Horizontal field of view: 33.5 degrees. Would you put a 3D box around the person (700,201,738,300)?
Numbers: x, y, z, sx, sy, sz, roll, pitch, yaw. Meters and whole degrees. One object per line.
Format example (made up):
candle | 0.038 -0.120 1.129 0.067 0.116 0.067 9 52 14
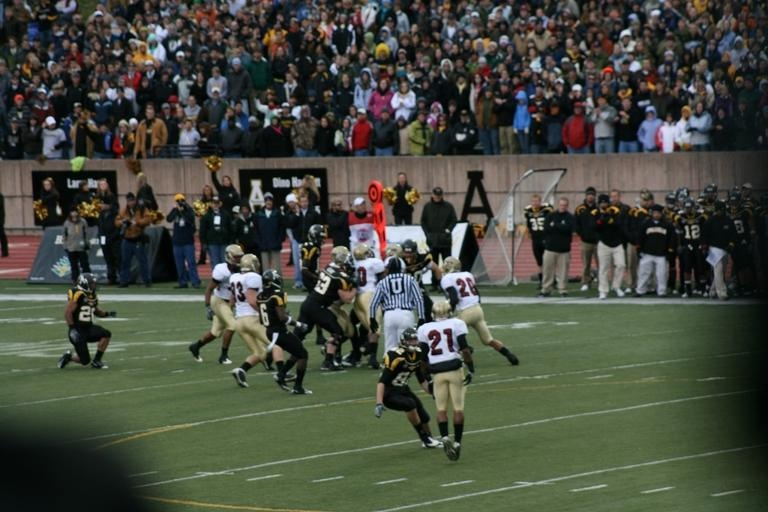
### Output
person | 8.292 -0.155 31.950 0.740 1.875 0.493 -2 1 13

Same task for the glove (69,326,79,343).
glove | -6.439 1.662 26.888 0.220 0.300 0.108 4 -4 -14

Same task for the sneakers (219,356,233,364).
sneakers | -3.382 2.247 27.497 0.147 0.108 0.253 -1 -3 -37

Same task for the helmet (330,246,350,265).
helmet | -0.893 -0.025 26.276 0.303 0.382 0.390 6 0 17

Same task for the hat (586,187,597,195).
hat | 5.323 -1.713 33.327 0.190 0.183 0.296 6 -10 10

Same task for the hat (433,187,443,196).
hat | 1.428 -1.831 34.818 0.220 0.272 0.269 4 -35 9

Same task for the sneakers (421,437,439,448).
sneakers | 0.826 3.302 22.517 0.403 0.198 0.146 0 24 -4

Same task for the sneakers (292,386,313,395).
sneakers | -1.588 2.647 25.243 0.415 0.173 0.151 -2 16 -4

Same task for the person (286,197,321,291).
person | -2.173 -0.403 35.665 1.015 2.782 0.810 0 -15 1

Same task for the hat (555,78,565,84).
hat | 4.911 -4.978 36.226 0.270 0.164 0.442 -2 1 8

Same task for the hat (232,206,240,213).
hat | -4.092 -1.320 35.851 0.176 0.173 0.209 9 -12 -26

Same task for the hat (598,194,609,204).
hat | 5.574 -1.482 32.776 0.264 0.187 0.308 -2 1 8

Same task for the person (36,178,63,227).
person | -10.731 -1.803 41.635 0.623 1.597 1.858 -2 1 -15

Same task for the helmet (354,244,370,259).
helmet | -0.478 -0.108 27.086 0.334 0.274 0.261 -19 30 -3

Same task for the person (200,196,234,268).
person | -4.533 -0.419 35.490 0.909 2.476 0.595 -5 17 -5

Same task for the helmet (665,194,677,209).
helmet | 7.492 -1.421 33.480 0.300 0.398 0.397 -2 -2 3

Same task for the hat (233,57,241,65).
hat | -4.521 -6.068 39.558 0.241 0.165 0.310 -4 -14 -2

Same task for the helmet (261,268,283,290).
helmet | -2.191 0.431 25.401 0.446 0.392 0.343 -20 24 -36

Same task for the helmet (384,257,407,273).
helmet | 0.227 0.172 25.300 0.248 0.245 0.392 4 30 0

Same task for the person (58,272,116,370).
person | -6.310 1.382 27.348 1.079 1.963 1.146 -2 1 -14

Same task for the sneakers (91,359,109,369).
sneakers | -6.016 2.317 27.305 0.450 0.191 0.152 6 19 -2

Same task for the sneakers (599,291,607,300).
sneakers | 5.544 0.994 32.708 0.195 0.230 0.539 0 -3 5

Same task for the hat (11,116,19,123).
hat | -12.008 -4.521 42.092 0.203 0.092 0.233 2 -2 -3

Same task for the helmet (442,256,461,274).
helmet | 1.400 0.160 26.161 0.268 0.305 0.341 0 9 -20

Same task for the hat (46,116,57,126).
hat | -10.859 -4.469 42.014 0.355 0.293 0.564 -6 10 -13

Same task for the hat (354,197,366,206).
hat | -0.691 -1.486 34.688 0.238 0.176 0.335 -11 0 -38

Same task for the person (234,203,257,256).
person | -3.827 -0.752 35.767 0.757 1.313 0.418 -2 1 -21

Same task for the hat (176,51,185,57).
hat | -6.486 -6.550 41.278 0.191 0.138 0.245 -2 -1 -10

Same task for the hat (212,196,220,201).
hat | -4.522 -1.583 34.982 0.153 0.153 0.115 2 5 -27

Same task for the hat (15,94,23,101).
hat | -11.865 -5.222 42.146 0.191 0.224 0.245 -5 -21 -35

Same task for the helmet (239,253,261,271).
helmet | -2.745 0.112 26.467 0.363 0.364 0.304 -22 20 -21

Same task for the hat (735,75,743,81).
hat | 9.328 -4.746 33.917 0.061 0.132 0.398 -2 1 -16

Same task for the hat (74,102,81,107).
hat | -9.747 -4.899 41.123 0.211 0.108 0.330 -2 4 -19

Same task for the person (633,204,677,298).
person | 6.863 -0.137 32.758 0.955 1.843 0.613 -2 1 15

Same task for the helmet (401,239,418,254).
helmet | 0.533 -0.226 26.546 0.234 0.272 0.286 -2 43 4

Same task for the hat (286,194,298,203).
hat | -2.643 -1.693 37.259 0.253 0.334 0.323 -3 12 -3

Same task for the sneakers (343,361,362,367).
sneakers | -0.669 2.302 27.142 0.373 0.161 0.127 -4 14 2

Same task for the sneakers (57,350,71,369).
sneakers | -6.813 2.244 27.539 0.112 0.333 0.157 38 23 -1

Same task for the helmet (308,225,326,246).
helmet | -1.469 -0.463 28.213 0.337 0.404 0.459 -2 1 -5

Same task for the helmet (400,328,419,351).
helmet | 0.459 1.459 22.448 0.291 0.333 0.355 1 -6 -28

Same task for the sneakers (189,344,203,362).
sneakers | -3.995 2.091 27.625 0.216 0.511 0.175 5 34 33

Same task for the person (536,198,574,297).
person | 4.446 -0.236 33.187 0.930 2.092 0.515 -1 1 20

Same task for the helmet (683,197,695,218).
helmet | 7.740 -1.249 32.730 0.282 0.366 0.218 -2 1 11

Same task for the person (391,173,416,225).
person | 0.581 -1.658 36.449 0.748 1.279 1.234 -2 1 1

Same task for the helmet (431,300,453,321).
helmet | 1.019 0.964 22.677 0.264 0.304 0.350 1 14 5

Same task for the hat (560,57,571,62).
hat | 5.132 -5.651 36.606 0.232 0.124 0.382 -1 4 13

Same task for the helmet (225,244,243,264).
helmet | -3.175 -0.049 27.250 0.371 0.327 0.345 1 9 22

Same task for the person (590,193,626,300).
person | 5.792 -0.265 32.976 0.950 2.157 0.750 -2 1 -40

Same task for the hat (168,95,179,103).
hat | -6.606 -5.004 40.523 0.203 0.214 0.275 1 -5 2

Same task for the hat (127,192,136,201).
hat | -7.076 -1.684 36.134 0.215 0.190 0.306 -4 6 1

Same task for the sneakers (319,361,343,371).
sneakers | -1.087 2.297 26.826 0.552 0.255 0.183 3 6 -38

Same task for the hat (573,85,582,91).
hat | 5.415 -4.781 36.177 0.244 0.257 0.243 7 11 43

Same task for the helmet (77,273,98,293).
helmet | -6.257 0.525 27.030 0.457 0.413 0.380 -2 17 -1

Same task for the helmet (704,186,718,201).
helmet | 8.357 -1.623 33.082 0.346 0.430 0.436 0 -4 10
